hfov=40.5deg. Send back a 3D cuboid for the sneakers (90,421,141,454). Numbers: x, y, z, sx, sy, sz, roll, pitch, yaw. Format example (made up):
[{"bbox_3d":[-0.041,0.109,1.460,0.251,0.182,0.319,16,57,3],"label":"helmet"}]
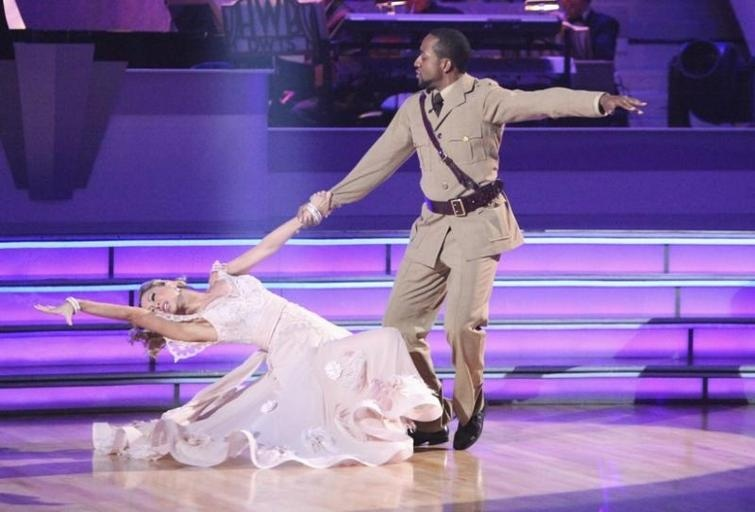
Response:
[{"bbox_3d":[-1.578,1.087,6.107,0.242,0.077,0.222,-1,9,-10],"label":"sneakers"}]

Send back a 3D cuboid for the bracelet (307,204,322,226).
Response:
[{"bbox_3d":[-0.420,-0.247,6.224,0.066,0.095,0.125,-38,35,-9],"label":"bracelet"}]
